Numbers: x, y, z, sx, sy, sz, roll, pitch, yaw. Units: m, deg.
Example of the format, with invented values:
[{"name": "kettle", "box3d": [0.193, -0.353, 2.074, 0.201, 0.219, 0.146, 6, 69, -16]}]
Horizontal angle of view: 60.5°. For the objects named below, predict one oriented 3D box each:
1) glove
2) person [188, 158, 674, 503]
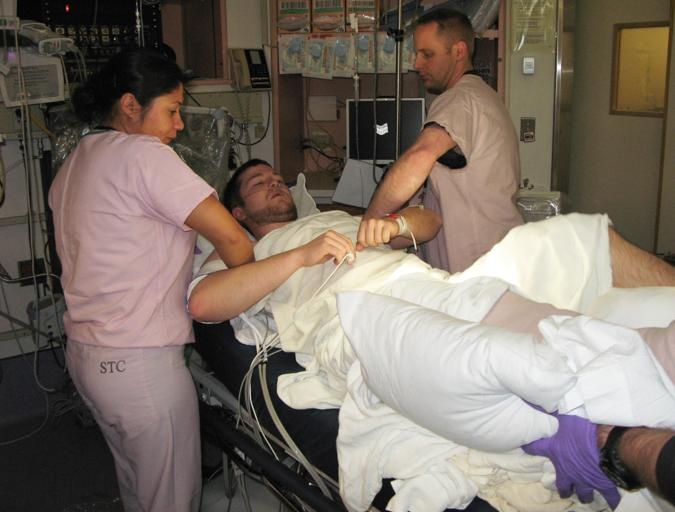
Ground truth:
[{"name": "glove", "box3d": [0.602, 0.518, 1.525, 0.072, 0.250, 0.222, -19, 12, -35]}, {"name": "person", "box3d": [0.126, 0.072, 2.239, 1.449, 0.520, 0.980, 7, 19, 38]}]
